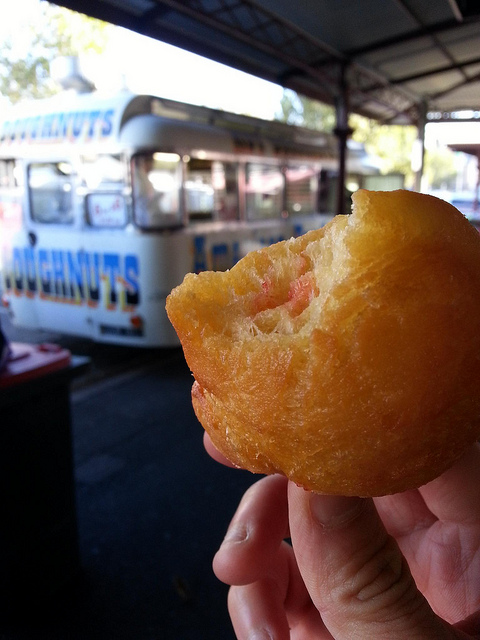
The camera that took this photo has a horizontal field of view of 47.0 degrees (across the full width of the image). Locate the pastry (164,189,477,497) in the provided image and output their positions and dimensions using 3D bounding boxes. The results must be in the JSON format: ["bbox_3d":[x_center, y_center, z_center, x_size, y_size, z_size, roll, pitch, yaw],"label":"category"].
[{"bbox_3d":[0.094,0.069,0.714,0.387,0.460,0.229,7,17,30],"label":"pastry"}]

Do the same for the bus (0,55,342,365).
[{"bbox_3d":[-0.912,-1.559,8.543,2.294,2.759,6.095,3,10,29],"label":"bus"}]
